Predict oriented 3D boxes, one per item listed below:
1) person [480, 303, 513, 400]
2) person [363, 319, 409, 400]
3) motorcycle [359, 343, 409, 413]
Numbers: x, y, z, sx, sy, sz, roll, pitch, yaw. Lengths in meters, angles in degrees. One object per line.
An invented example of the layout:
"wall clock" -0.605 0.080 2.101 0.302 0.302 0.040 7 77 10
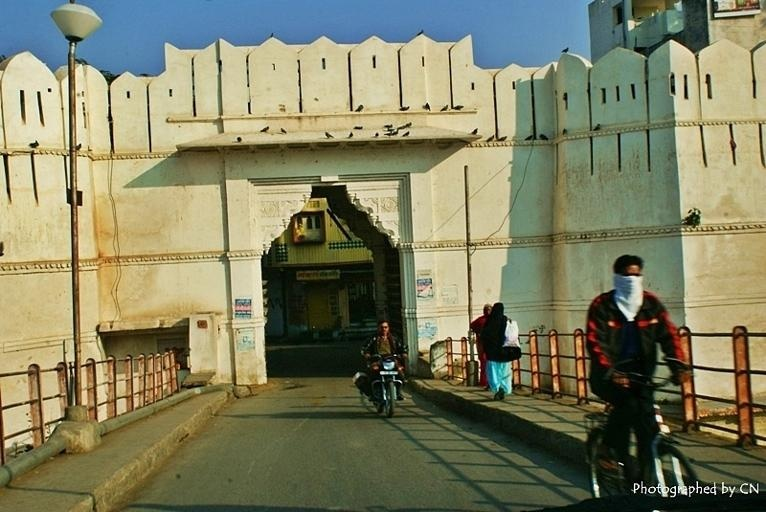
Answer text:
"person" 2.489 2.050 23.463 0.638 2.032 1.167 -3 -2 7
"person" 0.067 2.211 24.674 0.865 1.029 1.767 0 -8 -4
"motorcycle" -0.061 2.941 24.310 0.745 0.871 1.547 0 -12 -11
